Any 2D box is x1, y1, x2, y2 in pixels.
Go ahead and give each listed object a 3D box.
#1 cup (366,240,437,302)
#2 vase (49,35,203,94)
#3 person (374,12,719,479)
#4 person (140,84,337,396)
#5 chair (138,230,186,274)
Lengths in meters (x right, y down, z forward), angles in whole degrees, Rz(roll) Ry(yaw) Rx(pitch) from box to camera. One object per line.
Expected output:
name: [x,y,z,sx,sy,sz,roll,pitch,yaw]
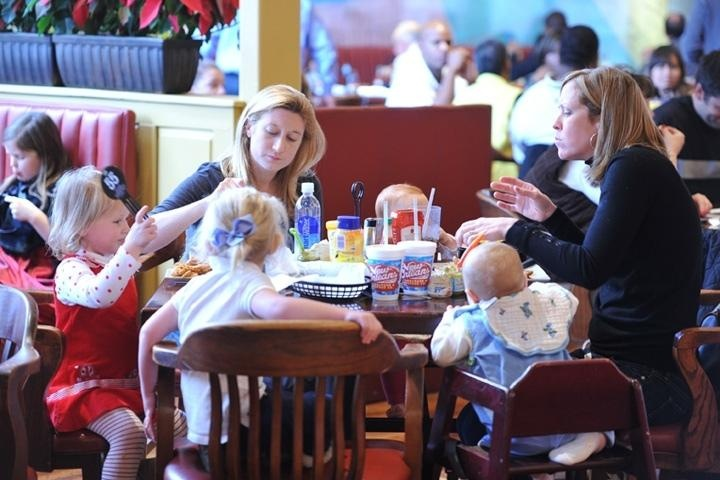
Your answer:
cup: [0.144,0.118,2.832,0.244,0.162,0.176,-3,6,-8]
vase: [-1.273,-0.895,4.202,0.709,0.280,0.354,2,9,13]
person: [0.873,-0.039,3.706,1.235,2.210,1.038,1,1,16]
person: [-0.495,0.006,3.426,0.921,1.346,0.600,0,11,-29]
chair: [-0.863,0.061,3.353,0.183,0.226,0.162,0,-1,-19]
